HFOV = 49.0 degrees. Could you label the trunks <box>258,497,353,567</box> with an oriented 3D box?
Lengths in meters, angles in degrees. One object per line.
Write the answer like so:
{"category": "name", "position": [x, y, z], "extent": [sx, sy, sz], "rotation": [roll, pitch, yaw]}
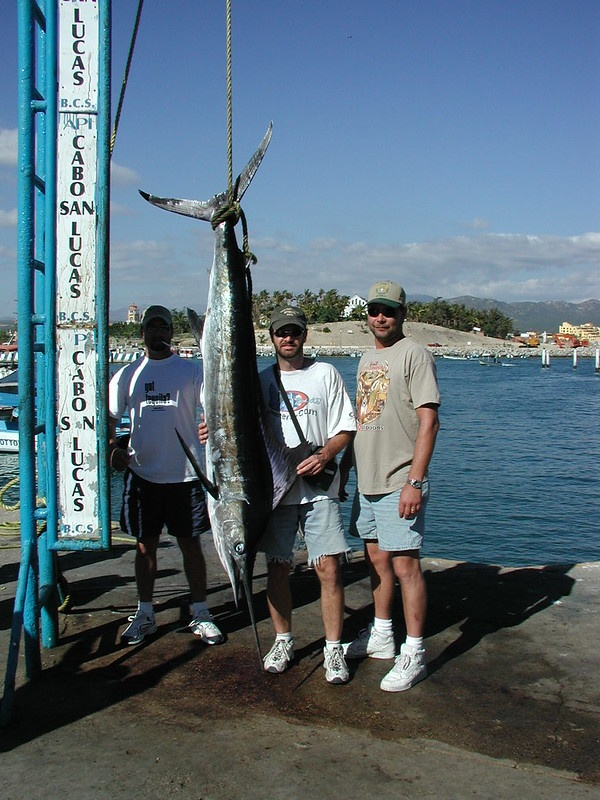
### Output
{"category": "trunks", "position": [0.021, 0.618, 3.118], "extent": [0.446, 0.303, 0.143], "rotation": [-2, -27, 9]}

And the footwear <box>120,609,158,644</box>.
{"category": "footwear", "position": [-0.816, 1.169, 3.368], "extent": [0.084, 0.147, 0.234], "rotation": [-7, -4, 26]}

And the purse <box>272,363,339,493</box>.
{"category": "purse", "position": [0.029, 0.158, 3.035], "extent": [0.114, 0.634, 0.181], "rotation": [-19, -1, 44]}

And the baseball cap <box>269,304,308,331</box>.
{"category": "baseball cap", "position": [-0.053, -0.385, 3.127], "extent": [0.172, 0.126, 0.237], "rotation": [0, 2, 0]}

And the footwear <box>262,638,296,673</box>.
{"category": "footwear", "position": [-0.087, 1.177, 3.040], "extent": [0.081, 0.078, 0.184], "rotation": [8, -9, 14]}

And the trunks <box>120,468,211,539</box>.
{"category": "trunks", "position": [-0.710, 0.553, 3.508], "extent": [0.481, 0.342, 0.257], "rotation": [0, 17, -9]}

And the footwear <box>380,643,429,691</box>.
{"category": "footwear", "position": [0.479, 1.182, 2.950], "extent": [0.100, 0.162, 0.302], "rotation": [-3, -7, 38]}

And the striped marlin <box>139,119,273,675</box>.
{"category": "striped marlin", "position": [-0.316, -0.014, 2.864], "extent": [0.727, 2.101, 0.242], "rotation": [-4, 4, -8]}

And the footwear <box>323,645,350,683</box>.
{"category": "footwear", "position": [0.170, 1.178, 2.969], "extent": [0.111, 0.154, 0.176], "rotation": [0, 2, 3]}

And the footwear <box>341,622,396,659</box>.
{"category": "footwear", "position": [0.361, 1.206, 3.328], "extent": [0.339, 0.181, 0.115], "rotation": [2, -3, 9]}

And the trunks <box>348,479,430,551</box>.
{"category": "trunks", "position": [0.422, 0.533, 3.217], "extent": [0.211, 0.287, 0.410], "rotation": [-12, 10, -34]}

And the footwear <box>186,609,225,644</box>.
{"category": "footwear", "position": [-0.473, 1.177, 3.420], "extent": [0.197, 0.086, 0.099], "rotation": [21, 6, 38]}
